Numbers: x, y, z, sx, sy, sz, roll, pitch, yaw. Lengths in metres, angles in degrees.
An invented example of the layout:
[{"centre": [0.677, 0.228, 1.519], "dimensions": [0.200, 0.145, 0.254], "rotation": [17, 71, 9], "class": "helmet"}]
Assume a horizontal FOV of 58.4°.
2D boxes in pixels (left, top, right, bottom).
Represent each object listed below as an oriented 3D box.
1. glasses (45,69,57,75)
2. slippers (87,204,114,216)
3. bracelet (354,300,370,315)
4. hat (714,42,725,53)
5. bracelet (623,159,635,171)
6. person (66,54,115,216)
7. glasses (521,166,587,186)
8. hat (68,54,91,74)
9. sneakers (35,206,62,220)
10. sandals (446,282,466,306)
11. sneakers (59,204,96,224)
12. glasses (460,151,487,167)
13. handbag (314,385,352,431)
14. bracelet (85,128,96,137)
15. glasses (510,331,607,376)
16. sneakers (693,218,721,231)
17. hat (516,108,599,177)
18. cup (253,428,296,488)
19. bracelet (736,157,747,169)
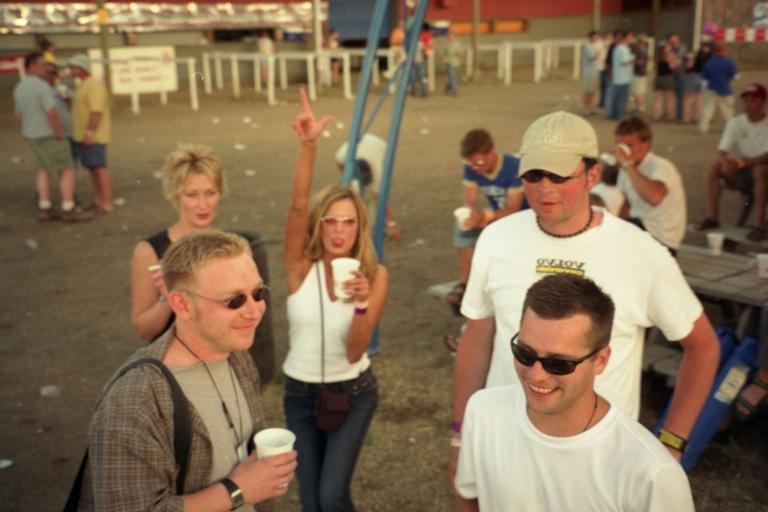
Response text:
[{"centre": [-2.159, -1.188, 4.437], "dimensions": [0.048, 0.015, 0.046], "rotation": [-8, 26, -35], "class": "glasses"}, {"centre": [-2.145, -0.345, 5.160], "dimensions": [0.129, 0.046, 0.036], "rotation": [-9, 61, -20], "class": "slippers"}, {"centre": [-0.113, 0.257, 3.472], "dimensions": [0.073, 0.058, 0.067], "rotation": [-2, 11, -28], "class": "bracelet"}, {"centre": [3.321, -2.041, 6.763], "dimensions": [0.068, 0.069, 0.071], "rotation": [4, 57, 43], "class": "hat"}, {"centre": [1.797, -0.658, 4.993], "dimensions": [0.080, 0.022, 0.075], "rotation": [-18, 20, 8], "class": "bracelet"}, {"centre": [-2.046, -0.861, 4.744], "dimensions": [0.356, 1.087, 0.476], "rotation": [3, 41, -21], "class": "person"}, {"centre": [0.728, -0.340, 2.923], "dimensions": [0.273, 0.061, 0.114], "rotation": [1, 15, 11], "class": "glasses"}, {"centre": [-1.981, -1.243, 4.453], "dimensions": [0.207, 0.120, 0.073], "rotation": [2, 18, 12], "class": "hat"}, {"centre": [-2.407, -0.303, 4.922], "dimensions": [0.068, 0.062, 0.153], "rotation": [14, 17, 25], "class": "sneakers"}, {"centre": [0.675, 0.328, 6.217], "dimensions": [0.107, 0.104, 0.274], "rotation": [5, 13, 23], "class": "sandals"}, {"centre": [-2.231, -0.296, 4.992], "dimensions": [0.228, 0.088, 0.075], "rotation": [-4, 25, -25], "class": "sneakers"}, {"centre": [0.718, -0.739, 5.315], "dimensions": [0.120, 0.039, 0.111], "rotation": [3, 34, 27], "class": "glasses"}, {"centre": [-0.203, 0.753, 3.459], "dimensions": [0.204, 0.193, 0.118], "rotation": [-8, -4, 30], "class": "handbag"}, {"centre": [-2.041, -0.856, 4.763], "dimensions": [0.051, 0.016, 0.056], "rotation": [11, 59, 8], "class": "bracelet"}, {"centre": [0.634, 0.362, 2.534], "dimensions": [0.323, 0.110, 0.123], "rotation": [2, 17, 14], "class": "glasses"}, {"centre": [3.132, -0.316, 6.719], "dimensions": [0.362, 0.117, 0.108], "rotation": [-3, 14, -13], "class": "sneakers"}, {"centre": [0.760, -0.521, 3.028], "dimensions": [0.351, 0.239, 0.465], "rotation": [14, 32, 28], "class": "hat"}, {"centre": [-0.442, 0.758, 2.746], "dimensions": [0.141, 0.091, 0.130], "rotation": [1, 10, 0], "class": "cup"}, {"centre": [3.575, -0.922, 6.839], "dimensions": [0.083, 0.089, 0.036], "rotation": [-2, -17, 6], "class": "bracelet"}]
